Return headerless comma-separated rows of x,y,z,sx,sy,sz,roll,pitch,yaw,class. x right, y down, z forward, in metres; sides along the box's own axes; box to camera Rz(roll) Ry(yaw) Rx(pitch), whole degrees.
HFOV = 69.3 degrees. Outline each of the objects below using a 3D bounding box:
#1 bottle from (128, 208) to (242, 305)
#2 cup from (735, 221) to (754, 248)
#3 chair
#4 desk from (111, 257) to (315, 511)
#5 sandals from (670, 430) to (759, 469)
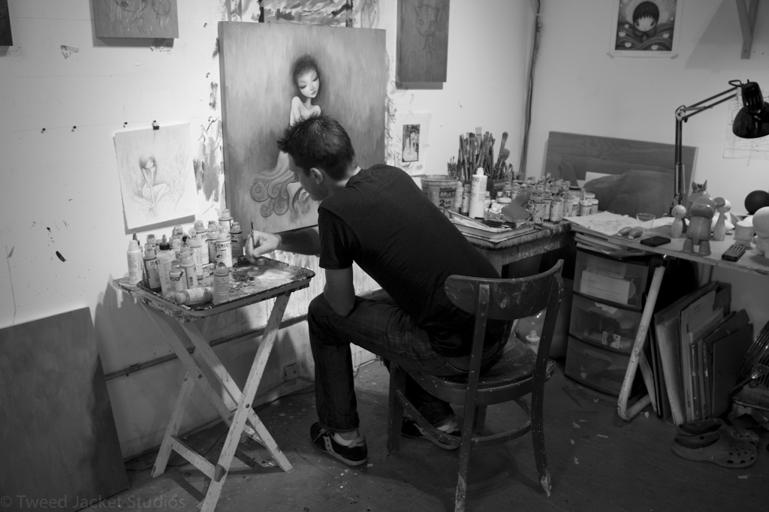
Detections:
-0.890,0.022,2.510,0.369,0.391,0.279,1,15,-8,bottle
1.919,-0.117,2.970,0.092,0.116,0.118,1,6,38,cup
0.442,0.585,2.668,0.780,1.169,0.495,-7,17,-17,chair
-0.886,0.658,2.753,0.745,0.993,0.771,-16,28,-41,desk
1.735,1.021,2.925,0.293,0.119,0.181,-4,15,21,sandals
